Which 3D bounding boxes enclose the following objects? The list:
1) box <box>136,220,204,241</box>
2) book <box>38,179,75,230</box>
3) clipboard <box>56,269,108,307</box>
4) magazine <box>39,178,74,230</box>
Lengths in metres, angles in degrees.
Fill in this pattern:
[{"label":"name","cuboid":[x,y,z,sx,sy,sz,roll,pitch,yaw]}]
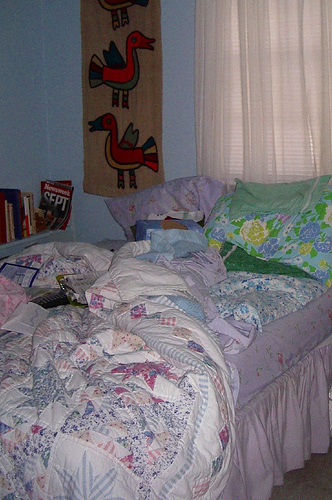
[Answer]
[{"label":"box","cuboid":[-0.008,-0.135,2.226,0.232,0.116,0.164,-1,7,-11]},{"label":"book","cuboid":[-0.859,-0.349,3.070,0.317,0.435,0.060,15,4,9]},{"label":"clipboard","cuboid":[-0.384,0.139,1.706,0.172,0.042,0.176,5,36,-27]},{"label":"magazine","cuboid":[-0.861,-0.348,3.089,0.255,0.364,0.051,17,10,1]}]
